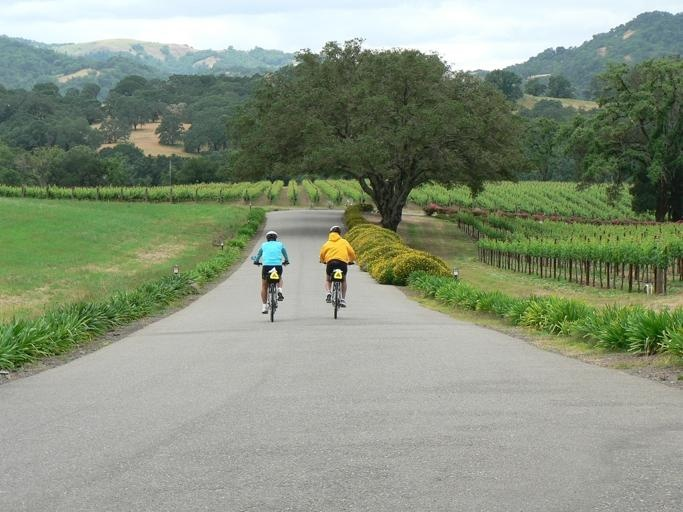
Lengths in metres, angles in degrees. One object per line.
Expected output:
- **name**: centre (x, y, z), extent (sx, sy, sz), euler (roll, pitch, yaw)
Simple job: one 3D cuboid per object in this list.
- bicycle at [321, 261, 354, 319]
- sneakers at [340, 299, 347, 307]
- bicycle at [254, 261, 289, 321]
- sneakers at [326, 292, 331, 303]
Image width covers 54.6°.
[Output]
- **bicycle**: centre (-0.115, 0.837, 16.278), extent (0.496, 1.462, 1.022), euler (-1, 10, 0)
- **sneakers**: centre (0.010, 1.154, 16.079), extent (0.082, 0.172, 0.281), euler (0, 10, 9)
- **bicycle**: centre (-1.737, 0.897, 16.150), extent (0.550, 1.484, 1.367), euler (-3, 10, -7)
- **sneakers**: centre (-0.317, 1.035, 16.165), extent (0.152, 0.216, 0.075), euler (-2, -4, 2)
